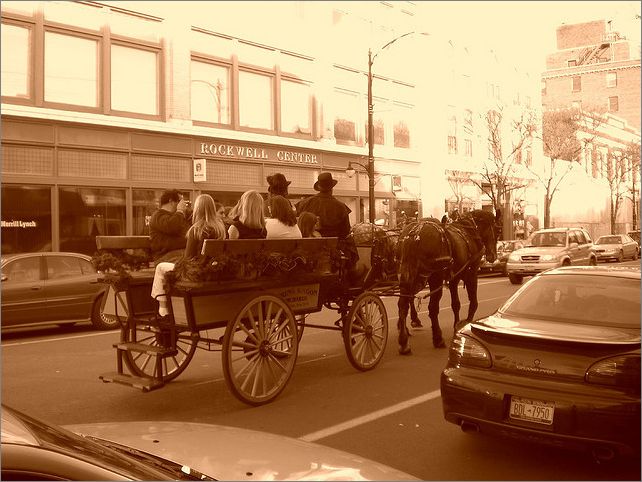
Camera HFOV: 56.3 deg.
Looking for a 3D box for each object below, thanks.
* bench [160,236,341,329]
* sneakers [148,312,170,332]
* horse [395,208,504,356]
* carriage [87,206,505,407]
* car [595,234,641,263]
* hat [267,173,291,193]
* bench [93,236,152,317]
[{"bbox_3d":[-0.750,0.499,7.514,2.076,0.818,0.788,-1,27,2],"label":"bench"},{"bbox_3d":[-2.036,1.012,7.455,0.438,0.185,0.163,2,3,40],"label":"sneakers"},{"bbox_3d":[2.434,0.717,11.248,1.032,2.514,3.532,8,8,42],"label":"horse"},{"bbox_3d":[-0.337,0.689,9.347,2.134,2.621,8.560,2,5,40],"label":"carriage"},{"bbox_3d":[17.459,0.474,35.310,1.893,1.534,3.345,2,5,36],"label":"car"},{"bbox_3d":[-0.672,-0.875,9.073,0.307,0.318,0.501,-1,4,-5],"label":"hat"},{"bbox_3d":[-2.566,0.445,7.812,0.665,0.885,1.229,1,1,23],"label":"bench"}]
